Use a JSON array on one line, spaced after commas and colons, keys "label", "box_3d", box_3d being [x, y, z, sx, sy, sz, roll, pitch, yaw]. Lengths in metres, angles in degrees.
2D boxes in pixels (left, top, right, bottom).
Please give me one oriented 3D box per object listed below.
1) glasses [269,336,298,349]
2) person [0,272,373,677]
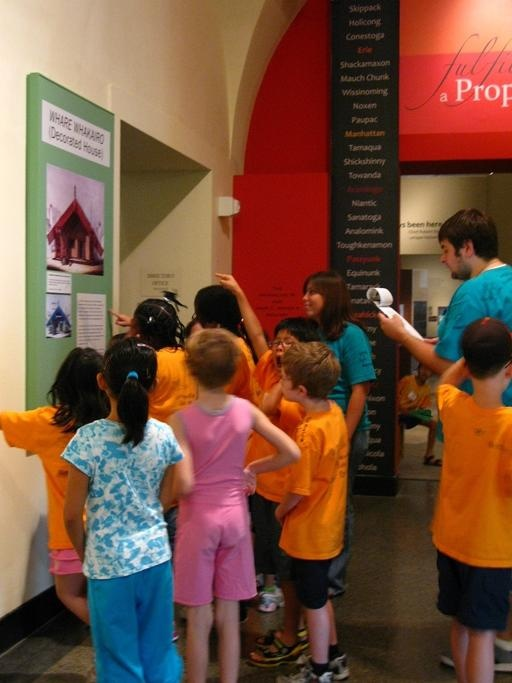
[{"label": "glasses", "box_3d": [0.095, 0.015, 2.237, 0.055, 0.028, 0.059, -18, -23, 24]}, {"label": "person", "box_3d": [0.113, 0.527, 2.488, 0.727, 1.630, 0.581, -1, 5, 9]}]
